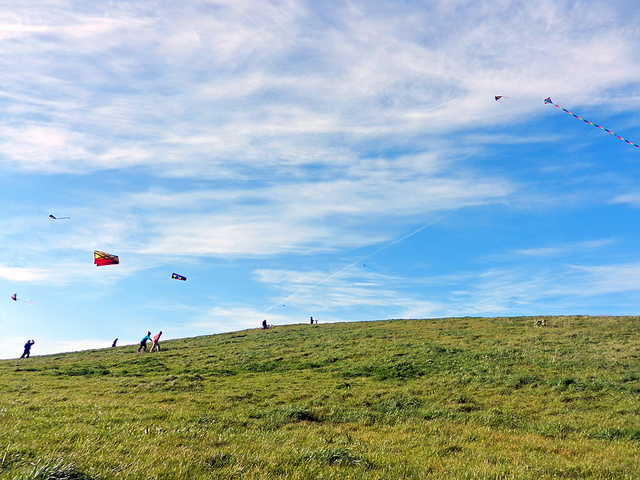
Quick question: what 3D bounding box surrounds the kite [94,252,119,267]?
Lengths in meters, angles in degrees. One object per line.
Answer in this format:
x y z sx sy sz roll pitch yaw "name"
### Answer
-14.895 1.382 37.459 1.827 1.060 0.277 -1 -5 5 "kite"
